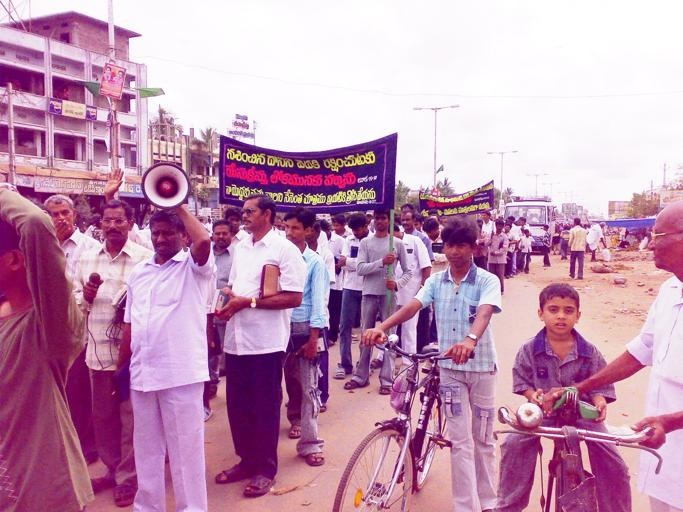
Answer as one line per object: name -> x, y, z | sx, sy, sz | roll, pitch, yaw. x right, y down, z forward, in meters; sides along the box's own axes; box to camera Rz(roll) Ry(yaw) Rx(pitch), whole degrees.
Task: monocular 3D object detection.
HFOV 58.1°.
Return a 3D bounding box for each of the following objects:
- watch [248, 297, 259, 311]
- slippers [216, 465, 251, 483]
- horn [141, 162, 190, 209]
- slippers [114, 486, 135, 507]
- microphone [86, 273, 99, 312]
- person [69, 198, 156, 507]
watch -> -0.752, 0.412, 5.207 | 0.070, 0.077, 0.070 | 0, 5, -22
slippers -> -0.954, 1.918, 5.440 | 0.345, 0.134, 0.138 | 7, -3, -31
horn -> -1.270, -0.514, 4.413 | 0.337, 0.335, 0.206 | -3, 8, -19
slippers -> -1.790, 1.968, 5.090 | 0.124, 0.195, 0.195 | -1, -3, 12
microphone -> -2.154, 0.313, 5.283 | 0.093, 0.329, 0.098 | 18, 27, -16
person -> -1.953, 0.779, 5.414 | 0.645, 2.288, 0.838 | 0, 1, 11
